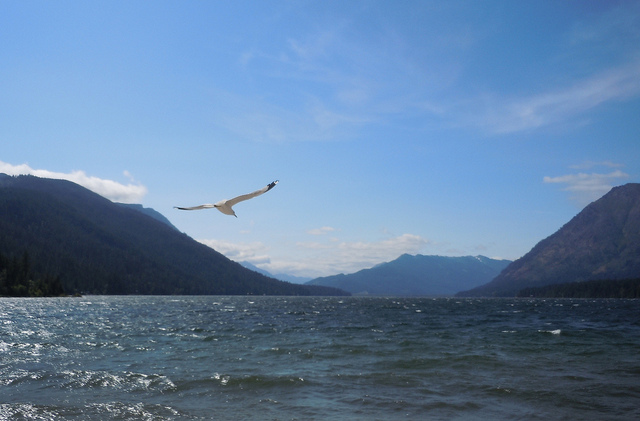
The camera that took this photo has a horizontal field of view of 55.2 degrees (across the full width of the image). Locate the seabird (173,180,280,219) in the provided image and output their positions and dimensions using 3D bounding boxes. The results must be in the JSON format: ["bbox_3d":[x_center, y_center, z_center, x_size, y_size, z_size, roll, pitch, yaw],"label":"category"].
[{"bbox_3d":[-10.176,-0.569,64.378,12.458,2.215,5.131,-14,14,-23],"label":"seabird"}]
